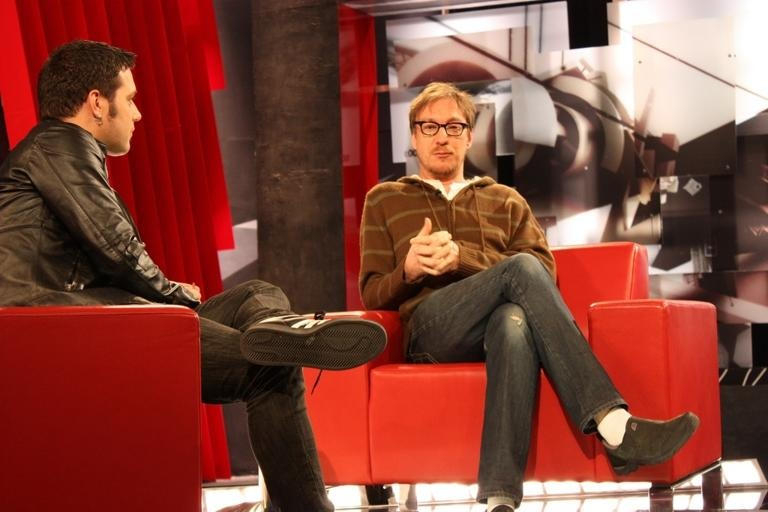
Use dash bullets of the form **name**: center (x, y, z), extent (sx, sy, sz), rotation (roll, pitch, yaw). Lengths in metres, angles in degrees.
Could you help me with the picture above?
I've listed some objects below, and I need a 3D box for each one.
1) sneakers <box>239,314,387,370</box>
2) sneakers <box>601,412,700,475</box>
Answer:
- **sneakers**: center (-0.206, 0.228, 2.055), extent (0.426, 0.169, 0.191), rotation (3, 7, 2)
- **sneakers**: center (0.816, 0.591, 2.201), extent (0.290, 0.126, 0.180), rotation (-27, 29, 32)
